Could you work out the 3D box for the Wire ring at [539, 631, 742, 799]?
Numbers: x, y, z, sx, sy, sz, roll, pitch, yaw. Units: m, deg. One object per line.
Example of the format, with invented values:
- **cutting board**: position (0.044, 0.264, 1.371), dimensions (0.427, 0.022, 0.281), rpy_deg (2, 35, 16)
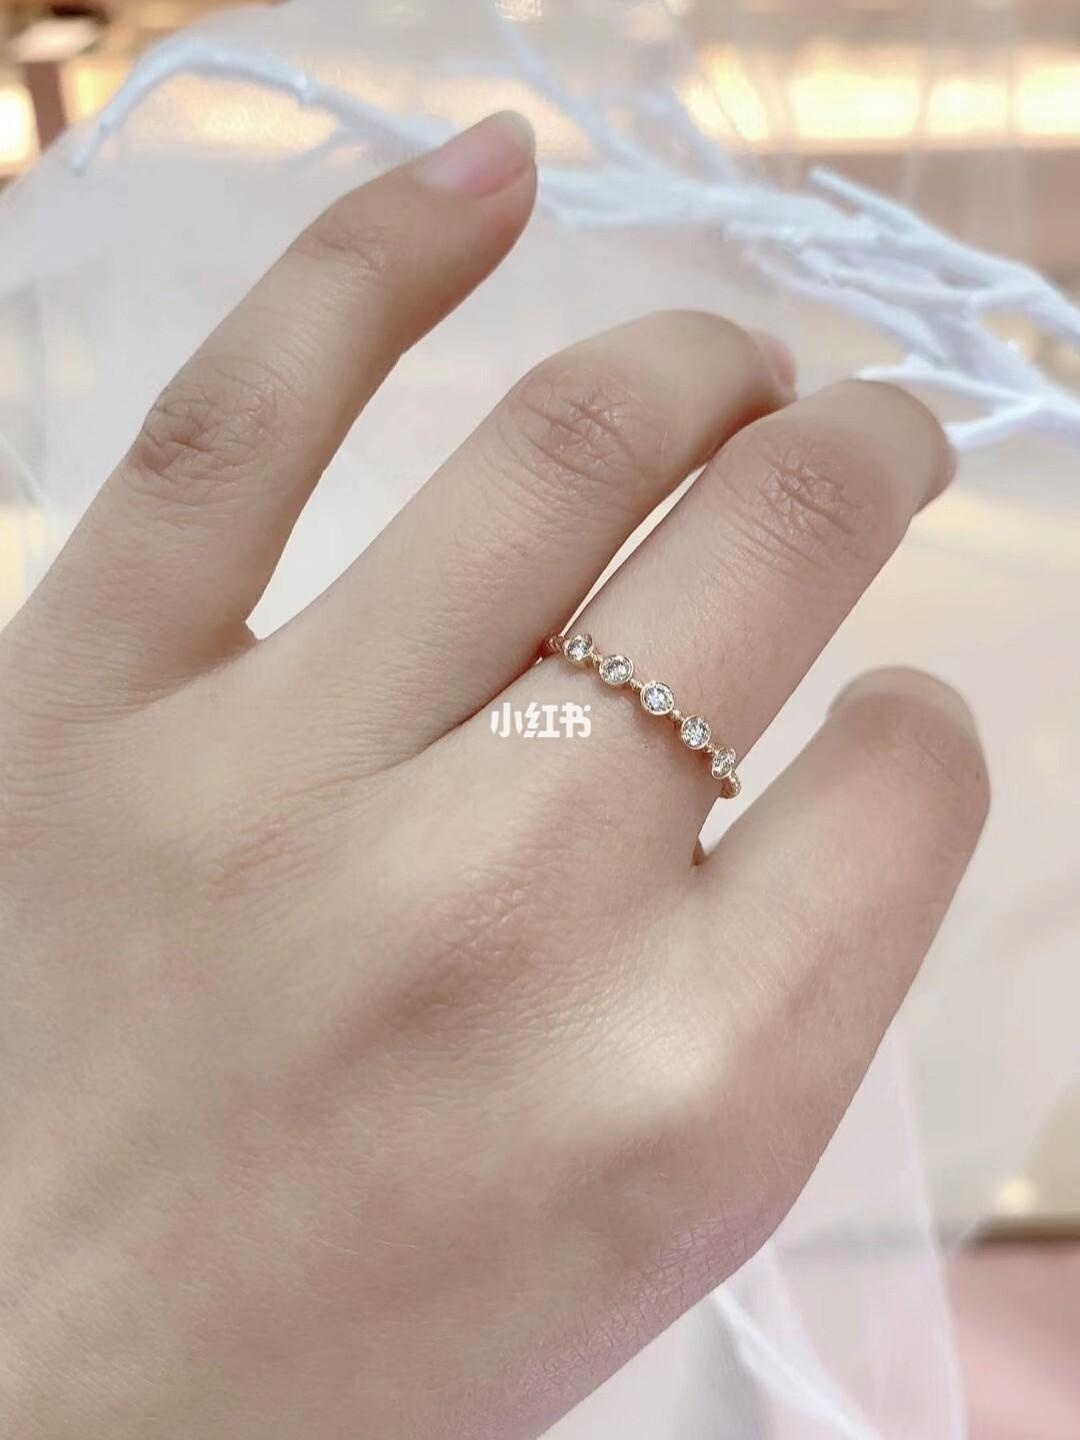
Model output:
- **Wire ring**: position (0.050, -0.002, 0.728), dimensions (0.082, 0.091, 0.017), rpy_deg (37, 88, 24)
